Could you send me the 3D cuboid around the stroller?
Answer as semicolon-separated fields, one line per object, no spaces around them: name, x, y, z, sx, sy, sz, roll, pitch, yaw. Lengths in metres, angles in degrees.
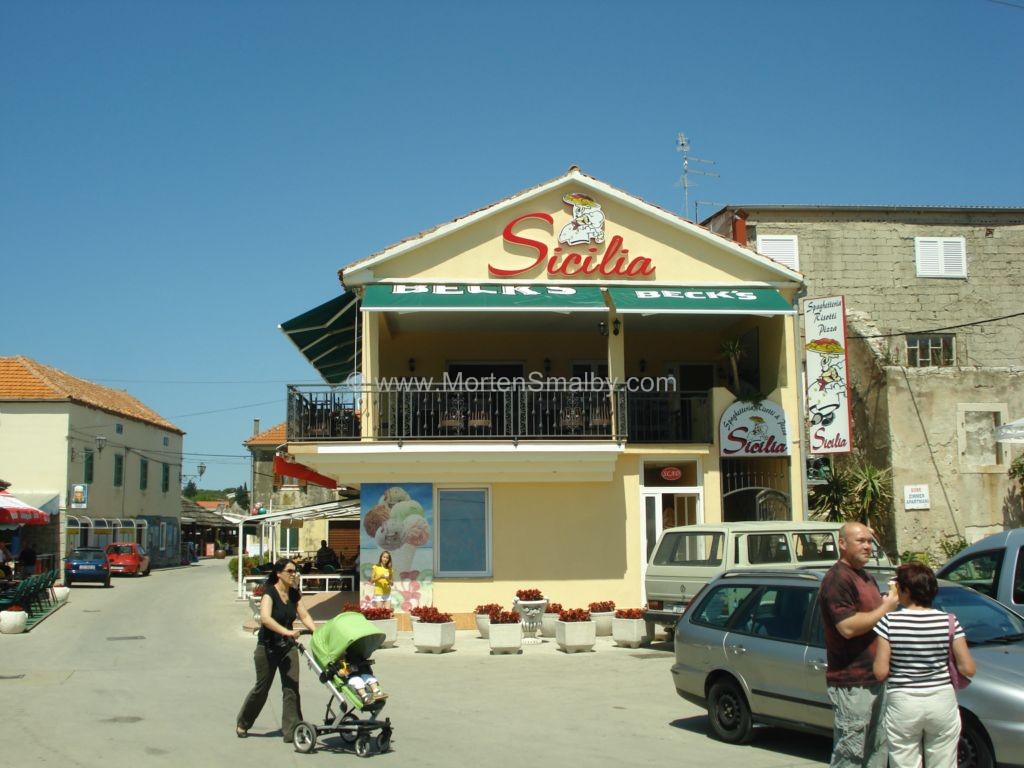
stroller;-2.260;3.956;17.018;1.275;1.814;1.278;-1;-10;-3

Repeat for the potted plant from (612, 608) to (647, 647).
potted plant;2.312;4.684;24.713;0.793;0.814;0.801;-1;-1;0

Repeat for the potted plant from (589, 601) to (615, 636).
potted plant;1.834;4.761;25.961;0.580;0.616;0.582;1;-6;-4

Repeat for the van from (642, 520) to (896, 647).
van;4.460;3.436;23.374;4.008;1.990;2.415;-2;-3;-5

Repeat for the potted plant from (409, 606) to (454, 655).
potted plant;-1.550;4.702;24.393;0.841;0.667;0.650;0;-1;0

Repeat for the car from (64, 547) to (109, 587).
car;-15.019;6.386;44.369;1.443;1.357;1.563;5;-12;-35

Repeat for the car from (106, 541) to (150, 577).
car;-16.224;7.285;53.170;1.428;0.929;2.610;1;-6;-11

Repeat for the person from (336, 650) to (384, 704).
person;-1.960;3.884;16.624;0.512;0.306;0.726;-11;29;-43
